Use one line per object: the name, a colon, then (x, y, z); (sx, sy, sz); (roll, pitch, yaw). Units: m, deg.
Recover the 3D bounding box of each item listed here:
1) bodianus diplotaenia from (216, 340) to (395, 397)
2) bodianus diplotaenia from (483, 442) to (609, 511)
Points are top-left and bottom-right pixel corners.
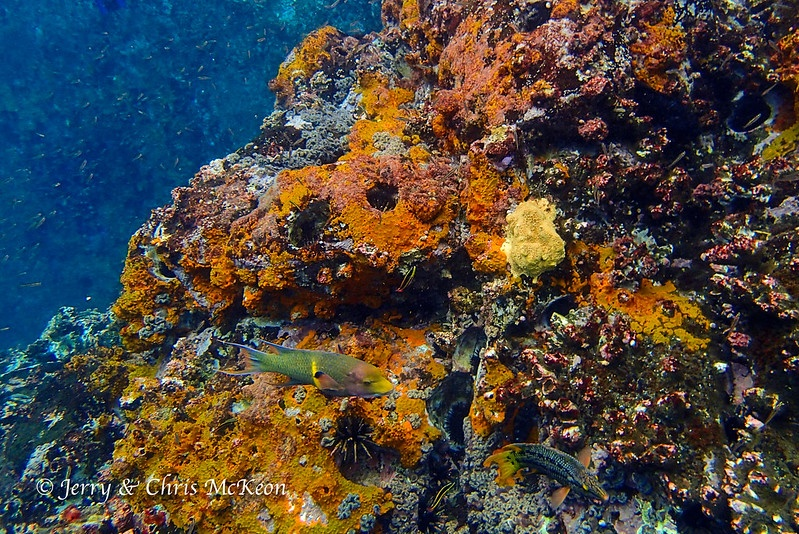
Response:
bodianus diplotaenia: (-1.802, 2.146, 13.795); (3.482, 0.875, 0.888); (8, 23, 8)
bodianus diplotaenia: (3.001, 4.498, 14.185); (2.204, 1.914, 0.893); (10, 57, -2)
